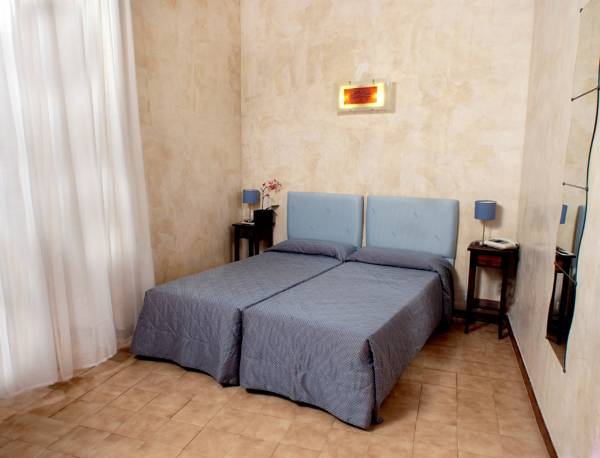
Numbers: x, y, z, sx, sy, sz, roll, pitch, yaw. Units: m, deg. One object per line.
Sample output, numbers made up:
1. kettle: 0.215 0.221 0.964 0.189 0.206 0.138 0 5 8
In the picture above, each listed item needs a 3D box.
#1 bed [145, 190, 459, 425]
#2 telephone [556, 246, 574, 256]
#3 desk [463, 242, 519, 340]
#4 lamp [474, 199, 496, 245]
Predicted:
1. bed: 0.176 0.468 4.438 2.277 1.290 2.874 7 15 32
2. telephone: 1.675 0.149 2.844 0.063 0.049 0.168 -5 4 -1
3. desk: 2.007 0.600 4.712 0.483 0.917 0.665 5 14 25
4. lamp: 1.951 -0.066 4.733 0.221 0.469 0.381 5 14 24
